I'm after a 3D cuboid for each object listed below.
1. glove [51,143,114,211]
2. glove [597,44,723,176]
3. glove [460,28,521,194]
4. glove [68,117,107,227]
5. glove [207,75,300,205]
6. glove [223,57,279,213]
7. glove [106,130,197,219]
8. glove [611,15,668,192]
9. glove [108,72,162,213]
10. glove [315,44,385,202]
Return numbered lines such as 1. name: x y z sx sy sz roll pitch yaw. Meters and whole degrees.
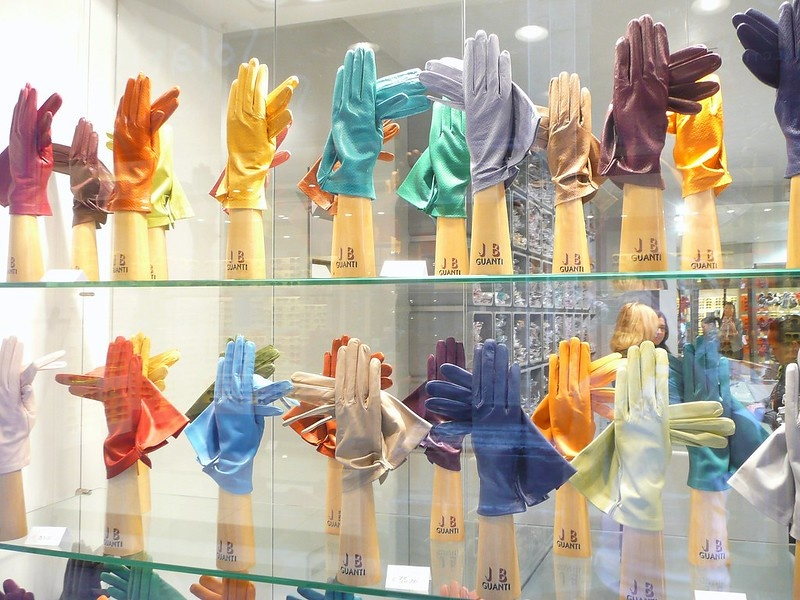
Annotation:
1. glove: -0.693 -0.293 1.624 0.146 0.048 0.122 11 -22 13
2. glove: 0.458 -0.347 1.325 0.187 0.241 0.073 3 8 0
3. glove: 0.165 -0.344 1.367 0.088 0.277 0.061 -1 -4 10
4. glove: -0.673 -0.270 1.599 0.077 0.228 0.057 2 -4 -31
5. glove: -0.296 -0.322 1.487 0.171 0.303 0.102 -3 -9 -5
6. glove: -0.292 -0.327 1.494 0.130 0.303 0.099 0 -8 -24
7. glove: -0.525 -0.243 1.556 0.156 0.219 0.070 0 8 5
8. glove: 0.429 -0.351 1.339 0.112 0.296 0.067 -1 -4 18
9. glove: -0.535 -0.308 1.488 0.082 0.264 0.060 1 -4 -18
10. glove: -0.081 -0.346 1.467 0.184 0.341 0.103 4 -19 -1
